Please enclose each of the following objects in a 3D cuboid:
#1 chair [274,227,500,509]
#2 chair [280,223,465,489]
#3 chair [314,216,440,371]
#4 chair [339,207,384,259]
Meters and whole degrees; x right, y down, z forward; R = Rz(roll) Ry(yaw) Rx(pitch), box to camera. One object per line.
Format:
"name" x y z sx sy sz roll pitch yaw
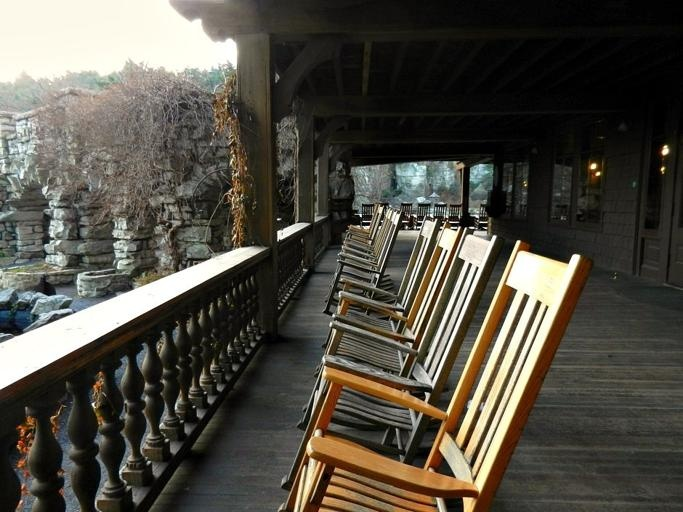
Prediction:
"chair" 0.344 0.344 2.969 1.157 1.909 1.042 8 12 5
"chair" 0.148 0.533 2.959 0.443 0.864 1.399 12 1 6
"chair" 0.248 0.273 3.076 0.676 0.977 0.622 4 25 -13
"chair" 0.258 -0.286 6.389 0.481 0.740 0.491 12 23 -10
